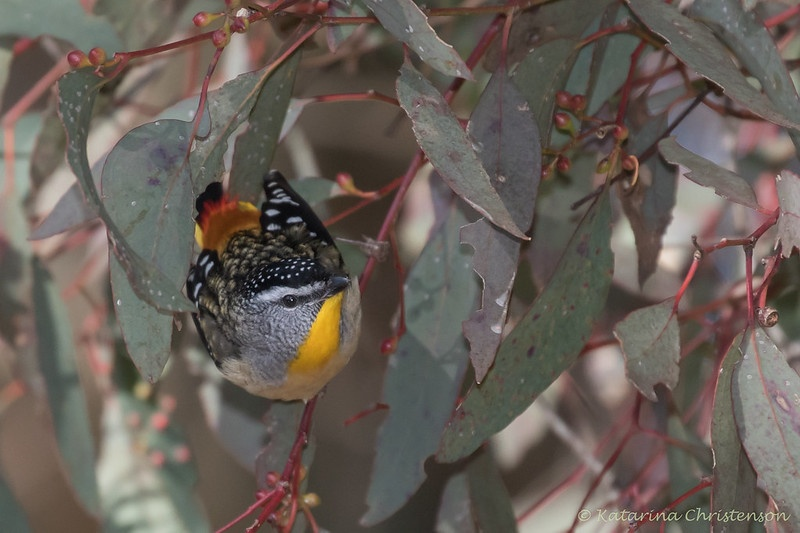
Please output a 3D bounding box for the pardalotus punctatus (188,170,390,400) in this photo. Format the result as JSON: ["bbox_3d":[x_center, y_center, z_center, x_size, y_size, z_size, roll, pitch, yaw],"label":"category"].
[{"bbox_3d":[-0.369,0.088,3.158,0.453,0.774,0.558,-19,0,-7],"label":"pardalotus punctatus"}]
